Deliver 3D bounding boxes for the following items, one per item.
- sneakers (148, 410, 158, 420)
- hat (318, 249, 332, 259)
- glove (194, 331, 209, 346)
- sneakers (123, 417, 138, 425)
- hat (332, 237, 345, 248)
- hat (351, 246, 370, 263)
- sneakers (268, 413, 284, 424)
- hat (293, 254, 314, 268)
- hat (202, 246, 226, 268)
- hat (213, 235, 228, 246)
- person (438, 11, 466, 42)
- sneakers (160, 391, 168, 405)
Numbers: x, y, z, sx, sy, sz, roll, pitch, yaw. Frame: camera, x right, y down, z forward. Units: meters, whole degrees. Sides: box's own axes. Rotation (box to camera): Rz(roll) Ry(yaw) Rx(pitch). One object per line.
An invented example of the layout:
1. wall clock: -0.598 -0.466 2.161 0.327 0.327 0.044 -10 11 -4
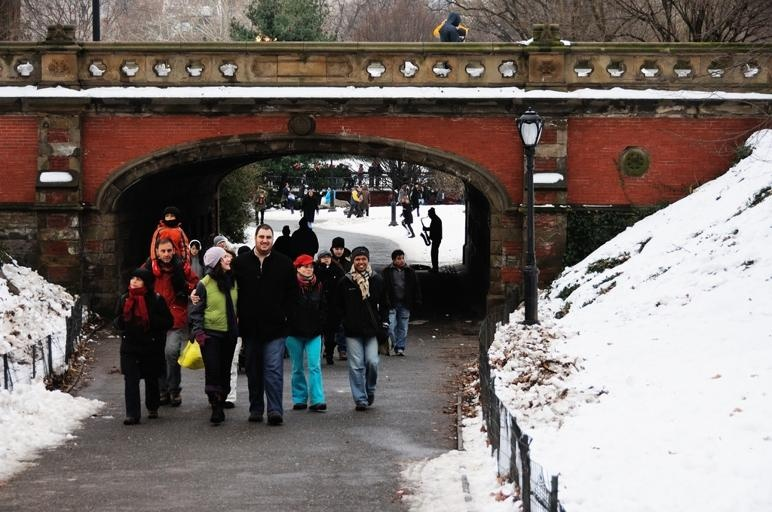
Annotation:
1. sneakers: -3.920 2.675 18.761 0.097 0.127 0.186 2 3 0
2. hat: -1.272 -0.050 23.097 0.228 0.123 0.323 -3 0 -13
3. glove: -3.050 1.360 18.428 0.169 0.230 0.237 1 -13 -22
4. sneakers: -4.209 2.731 18.409 0.204 0.139 0.106 11 -9 -5
5. hat: -1.002 -0.288 22.982 0.231 0.202 0.210 1 3 19
6. hat: -0.439 -0.061 19.859 0.241 0.245 0.316 2 -29 -9
7. sneakers: -1.831 2.682 18.494 0.254 0.218 0.206 0 7 -11
8. hat: -1.440 0.080 19.105 0.212 0.110 0.276 -9 -2 -28
9. hat: -2.849 0.020 18.523 0.398 0.351 0.219 3 8 17
10. hat: -3.021 -0.319 20.256 0.246 0.165 0.316 -5 -10 -2
11. person: 1.750 -6.102 29.462 0.692 0.886 1.817 1 7 3
12. sneakers: -3.892 2.499 19.535 0.180 0.217 0.489 1 -7 -6
